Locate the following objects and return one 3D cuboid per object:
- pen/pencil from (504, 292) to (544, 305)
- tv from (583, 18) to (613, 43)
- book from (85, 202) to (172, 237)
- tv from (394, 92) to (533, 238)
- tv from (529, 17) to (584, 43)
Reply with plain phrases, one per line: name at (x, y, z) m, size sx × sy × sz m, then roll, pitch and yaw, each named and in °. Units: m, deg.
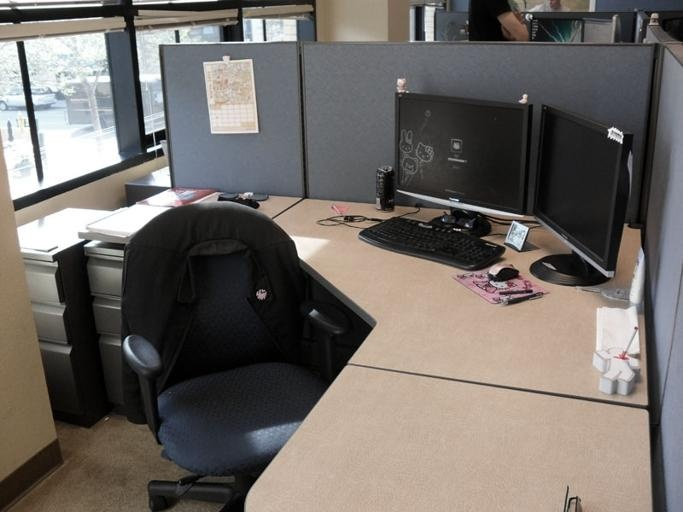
pen/pencil at (0.578, 0.138, 1.713) m, size 0.079 × 0.021 × 0.020 m, roll -9°, pitch -4°, yaw -15°
tv at (1.539, -1.339, 3.215) m, size 0.106 × 0.137 × 0.418 m, roll 3°, pitch 20°, yaw 10°
book at (-0.940, -0.149, 2.330) m, size 0.227 × 0.034 × 0.248 m, roll 8°, pitch 33°, yaw 23°
tv at (0.491, -0.367, 2.117) m, size 0.522 × 0.452 × 0.158 m, roll 14°, pitch 27°, yaw 35°
tv at (1.471, -1.510, 3.590) m, size 0.227 × 0.183 × 0.504 m, roll -5°, pitch 21°, yaw -11°
